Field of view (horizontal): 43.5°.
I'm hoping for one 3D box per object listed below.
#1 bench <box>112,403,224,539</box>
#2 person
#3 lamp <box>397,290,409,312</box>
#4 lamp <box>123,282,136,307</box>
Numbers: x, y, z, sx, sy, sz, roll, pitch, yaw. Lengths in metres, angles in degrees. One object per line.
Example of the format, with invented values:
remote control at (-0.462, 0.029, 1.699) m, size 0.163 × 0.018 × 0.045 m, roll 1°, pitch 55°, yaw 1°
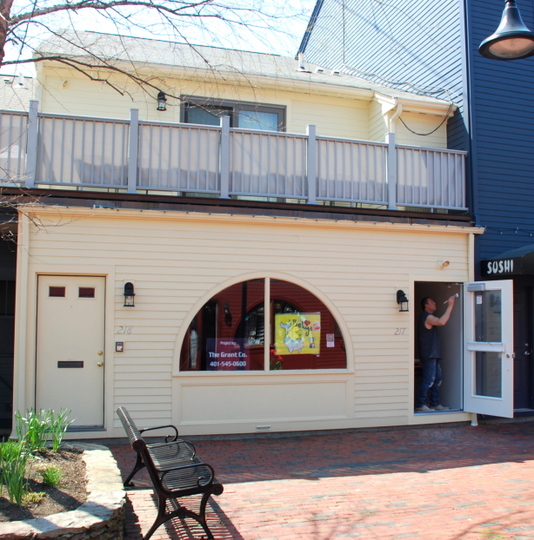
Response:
bench at (-0.912, 1.510, 6.260) m, size 0.922 × 0.894 × 2.332 m, roll -2°, pitch -1°, yaw -15°
person at (2.760, 1.357, 10.930) m, size 0.567 × 1.936 × 1.155 m, roll 1°, pitch 6°, yaw 14°
lamp at (2.066, 0.481, 10.241) m, size 0.224 × 0.339 × 0.119 m, roll -4°, pitch 7°, yaw -32°
lamp at (-1.865, 0.348, 9.147) m, size 0.159 × 0.351 × 0.183 m, roll -1°, pitch 6°, yaw -12°
